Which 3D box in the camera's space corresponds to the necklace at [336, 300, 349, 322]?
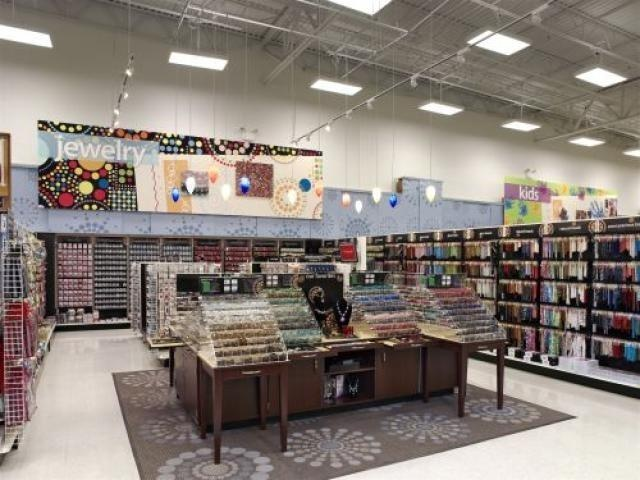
[{"bbox_3d":[0.371,1.162,7.983,0.214,0.307,0.061,2,-8,-3],"label":"necklace"}]
